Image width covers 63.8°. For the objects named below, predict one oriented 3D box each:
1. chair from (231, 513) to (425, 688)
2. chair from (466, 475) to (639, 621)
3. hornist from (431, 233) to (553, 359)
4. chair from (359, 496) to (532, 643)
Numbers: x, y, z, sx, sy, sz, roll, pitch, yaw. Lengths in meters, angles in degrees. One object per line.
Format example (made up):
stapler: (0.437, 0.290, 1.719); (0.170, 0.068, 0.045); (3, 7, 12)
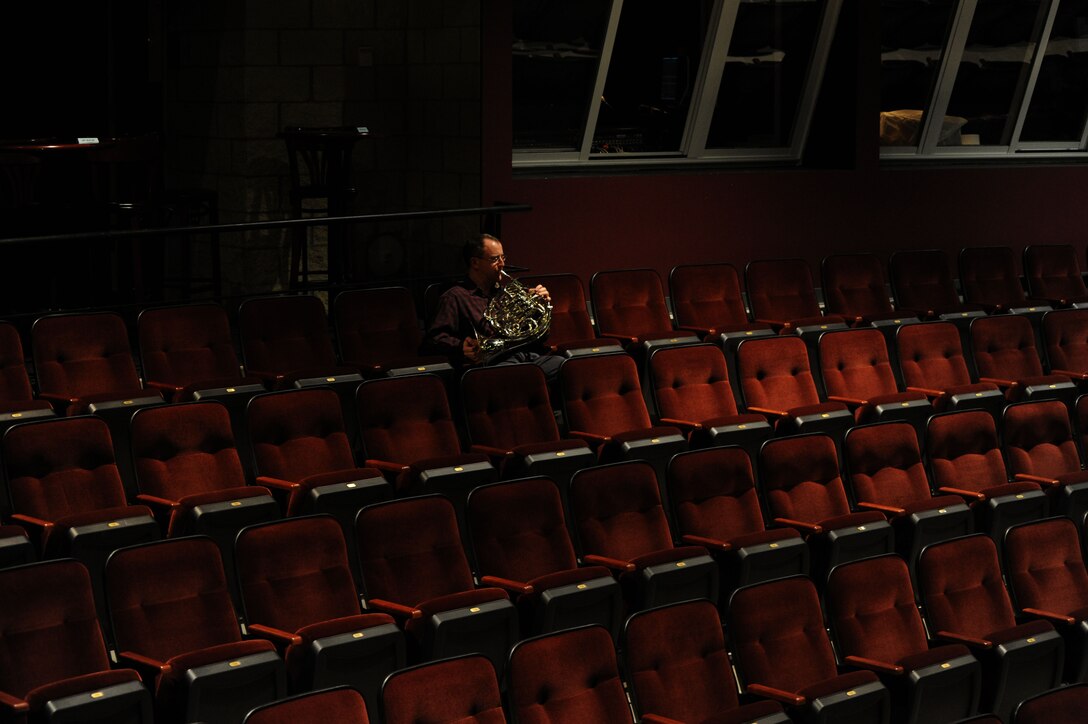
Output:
chair: (-0.806, 0.798, 2.947); (0.496, 0.663, 0.548); (-8, -1, -32)
chair: (-0.036, 0.714, 3.326); (0.471, 0.652, 0.538); (-8, 1, -26)
hornist: (-0.268, -0.203, 4.798); (0.710, 0.874, 0.490); (-2, -2, -41)
chair: (-0.357, 0.724, 3.266); (0.459, 0.602, 0.517); (-9, -10, -33)
